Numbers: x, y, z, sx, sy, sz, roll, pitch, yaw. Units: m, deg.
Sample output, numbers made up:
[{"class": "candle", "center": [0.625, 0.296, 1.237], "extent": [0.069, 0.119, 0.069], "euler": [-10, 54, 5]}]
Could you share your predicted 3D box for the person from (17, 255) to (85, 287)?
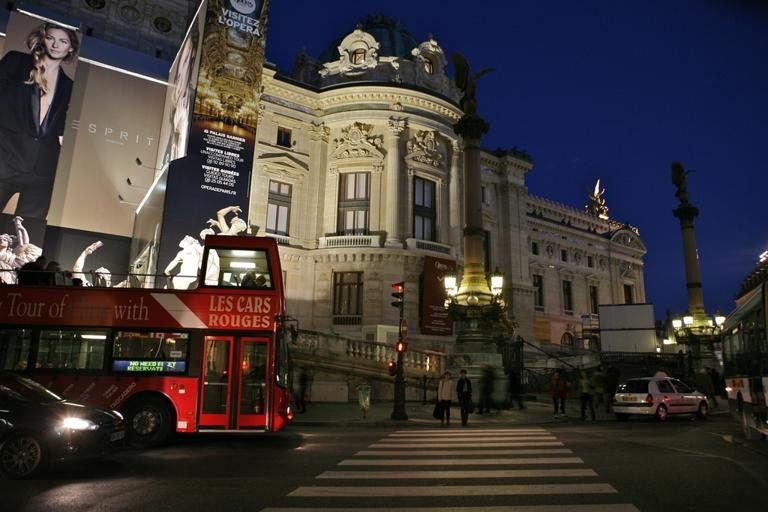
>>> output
[{"class": "person", "center": [-15.449, 0.644, 28.910], "extent": [2.053, 0.874, 1.121], "euler": [18, -55, -21]}]

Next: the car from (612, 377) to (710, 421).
[{"class": "car", "center": [12.690, 6.501, 28.684], "extent": [4.082, 1.894, 1.170], "euler": [5, -16, -17]}]

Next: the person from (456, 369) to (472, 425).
[{"class": "person", "center": [3.423, 6.030, 26.735], "extent": [0.572, 2.312, 1.227], "euler": [-1, -16, 7]}]

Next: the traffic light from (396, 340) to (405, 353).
[{"class": "traffic light", "center": [0.734, 3.900, 27.195], "extent": [0.329, 0.561, 0.470], "euler": [1, -15, 1]}]
